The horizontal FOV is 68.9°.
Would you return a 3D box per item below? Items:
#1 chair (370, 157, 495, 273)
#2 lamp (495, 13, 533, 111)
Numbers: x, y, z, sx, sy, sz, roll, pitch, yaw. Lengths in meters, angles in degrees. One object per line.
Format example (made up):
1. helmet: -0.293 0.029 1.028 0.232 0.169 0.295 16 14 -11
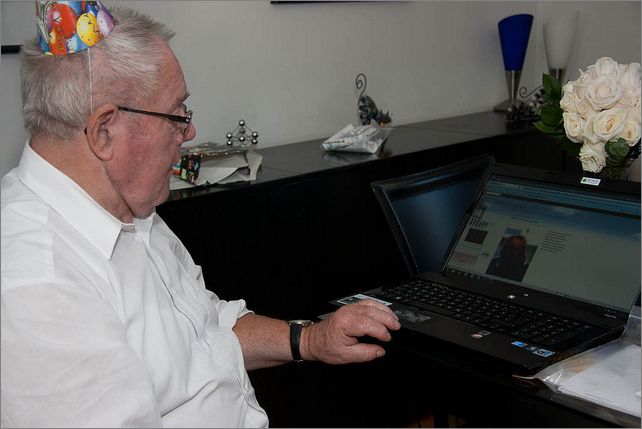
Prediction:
1. chair: 0.444 0.005 1.902 0.456 0.421 0.535 -15 7 -3
2. lamp: 1.335 -1.066 3.326 0.216 0.656 0.198 9 27 16
